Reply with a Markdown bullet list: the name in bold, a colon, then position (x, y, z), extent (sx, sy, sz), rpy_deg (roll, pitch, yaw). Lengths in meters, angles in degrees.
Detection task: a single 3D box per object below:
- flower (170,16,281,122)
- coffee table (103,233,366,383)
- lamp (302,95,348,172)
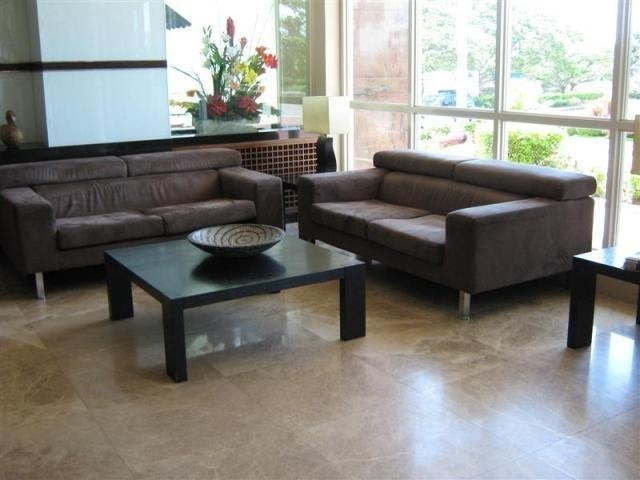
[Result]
- **flower**: position (-0.983, -1.908, 5.636), extent (1.238, 1.093, 0.801), rpy_deg (-20, 34, -39)
- **coffee table**: position (-0.595, 0.341, 3.363), extent (1.419, 0.522, 1.160), rpy_deg (-10, 18, -27)
- **lamp**: position (0.088, -1.082, 5.351), extent (0.294, 0.865, 0.505), rpy_deg (-20, 25, -31)
